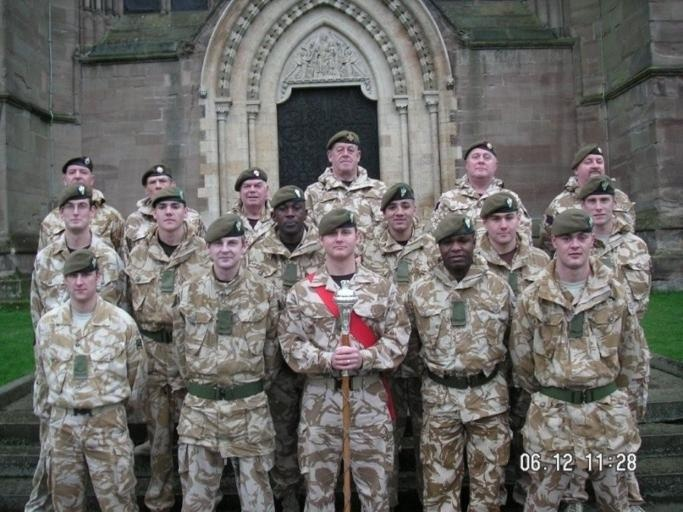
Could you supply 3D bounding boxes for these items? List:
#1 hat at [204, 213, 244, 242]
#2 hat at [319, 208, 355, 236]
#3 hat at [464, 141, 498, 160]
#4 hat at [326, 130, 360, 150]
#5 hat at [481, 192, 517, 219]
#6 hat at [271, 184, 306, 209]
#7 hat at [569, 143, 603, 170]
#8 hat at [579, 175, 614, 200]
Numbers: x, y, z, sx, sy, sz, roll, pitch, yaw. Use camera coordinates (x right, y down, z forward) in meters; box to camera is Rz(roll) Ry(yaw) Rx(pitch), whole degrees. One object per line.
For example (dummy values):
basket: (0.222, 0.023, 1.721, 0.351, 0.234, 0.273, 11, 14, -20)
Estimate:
hat: (-1.532, -0.372, 16.569, 0.446, 0.171, 0.350, -8, 8, 24)
hat: (-0.058, -0.459, 16.546, 0.335, 0.218, 0.437, 2, -12, -35)
hat: (1.972, -1.570, 18.296, 0.434, 0.178, 0.457, 3, -11, -27)
hat: (-0.007, -1.728, 18.507, 0.421, 0.138, 0.413, -2, -2, -21)
hat: (2.165, -0.703, 17.145, 0.516, 0.368, 0.317, -1, 0, 5)
hat: (-0.743, -0.825, 17.424, 0.459, 0.293, 0.262, -1, 0, -3)
hat: (3.458, -1.434, 18.061, 0.453, 0.182, 0.501, -18, -3, -30)
hat: (3.535, -0.955, 17.319, 0.480, 0.326, 0.264, -1, 0, 7)
